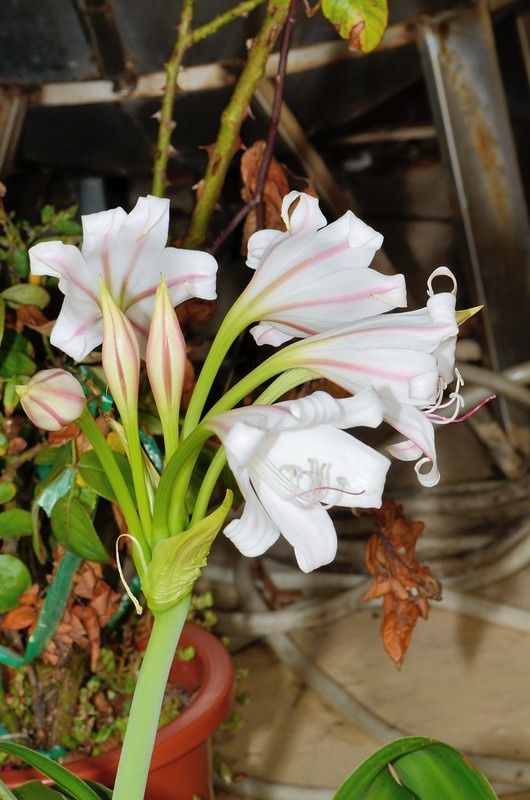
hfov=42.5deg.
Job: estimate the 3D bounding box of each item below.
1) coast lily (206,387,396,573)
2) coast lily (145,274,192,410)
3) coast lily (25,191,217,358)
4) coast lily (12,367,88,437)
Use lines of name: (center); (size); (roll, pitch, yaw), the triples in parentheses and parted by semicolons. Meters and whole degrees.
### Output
coast lily: (0.021, 0.040, 0.366); (0.106, 0.096, 0.048); (-6, 23, -15)
coast lily: (-0.056, -0.025, 0.386); (0.024, 0.081, 0.023); (-4, 18, -12)
coast lily: (-0.087, -0.063, 0.409); (0.133, 0.055, 0.133); (-4, 28, -17)
coast lily: (-0.122, -0.002, 0.387); (0.022, 0.044, 0.038); (-15, 54, 33)
